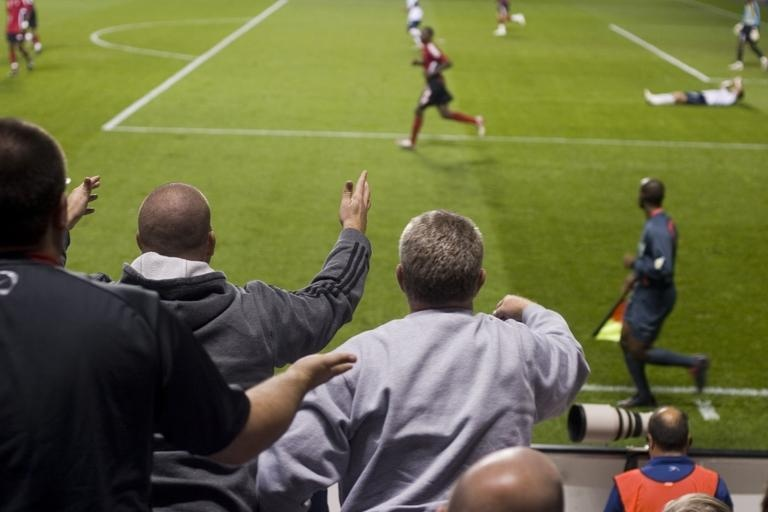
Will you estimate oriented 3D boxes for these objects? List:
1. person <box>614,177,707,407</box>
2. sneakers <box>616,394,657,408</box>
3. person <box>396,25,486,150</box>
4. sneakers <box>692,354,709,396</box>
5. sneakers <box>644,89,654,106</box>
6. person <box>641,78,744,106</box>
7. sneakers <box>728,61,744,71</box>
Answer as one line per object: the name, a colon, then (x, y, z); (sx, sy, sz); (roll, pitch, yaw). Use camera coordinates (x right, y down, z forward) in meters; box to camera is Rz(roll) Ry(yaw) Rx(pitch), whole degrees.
person: (2.392, 0.362, 10.084); (0.675, 2.032, 0.316); (3, 12, 10)
sneakers: (2.244, 1.298, 10.436); (0.401, 0.154, 0.131); (3, 4, 8)
person: (0.558, -1.759, 12.466); (0.931, 1.290, 0.984); (4, 12, 15)
sneakers: (2.790, 1.007, 10.242); (0.165, 0.427, 0.202); (1, -2, -5)
sneakers: (3.051, -1.858, 13.513); (0.089, 0.102, 0.247); (-2, 33, 4)
person: (3.578, -1.810, 13.472); (1.279, 0.377, 0.413); (2, 0, 5)
sneakers: (4.234, -2.282, 14.098); (0.134, 0.094, 0.048); (-12, -33, 36)
